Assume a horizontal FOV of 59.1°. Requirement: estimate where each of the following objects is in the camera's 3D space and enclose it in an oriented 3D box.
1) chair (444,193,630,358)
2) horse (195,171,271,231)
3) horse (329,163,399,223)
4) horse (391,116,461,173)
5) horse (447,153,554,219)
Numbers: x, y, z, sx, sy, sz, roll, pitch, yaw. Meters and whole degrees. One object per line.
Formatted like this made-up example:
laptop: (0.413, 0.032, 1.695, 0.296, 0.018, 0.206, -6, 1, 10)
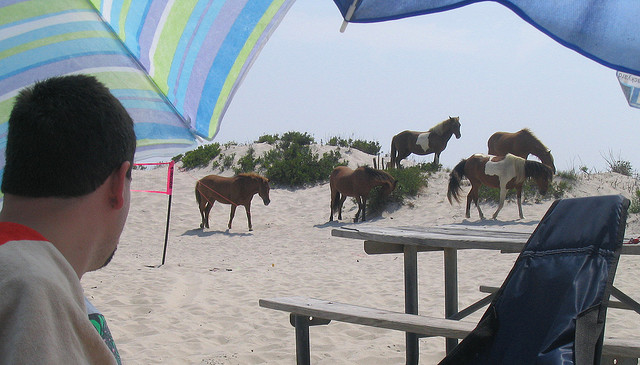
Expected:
chair: (1.531, 0.659, 3.789, 0.576, 1.164, 0.845, -5, 6, -42)
horse: (-2.335, 0.508, 14.990, 2.177, 1.593, 0.603, 4, 3, 17)
horse: (1.057, 0.344, 15.164, 2.342, 1.649, 0.710, 6, 4, 43)
horse: (4.008, -1.332, 21.317, 2.869, 2.208, 0.720, -1, 6, 26)
horse: (4.587, 0.150, 14.438, 0.756, 1.898, 2.914, -7, 10, -45)
